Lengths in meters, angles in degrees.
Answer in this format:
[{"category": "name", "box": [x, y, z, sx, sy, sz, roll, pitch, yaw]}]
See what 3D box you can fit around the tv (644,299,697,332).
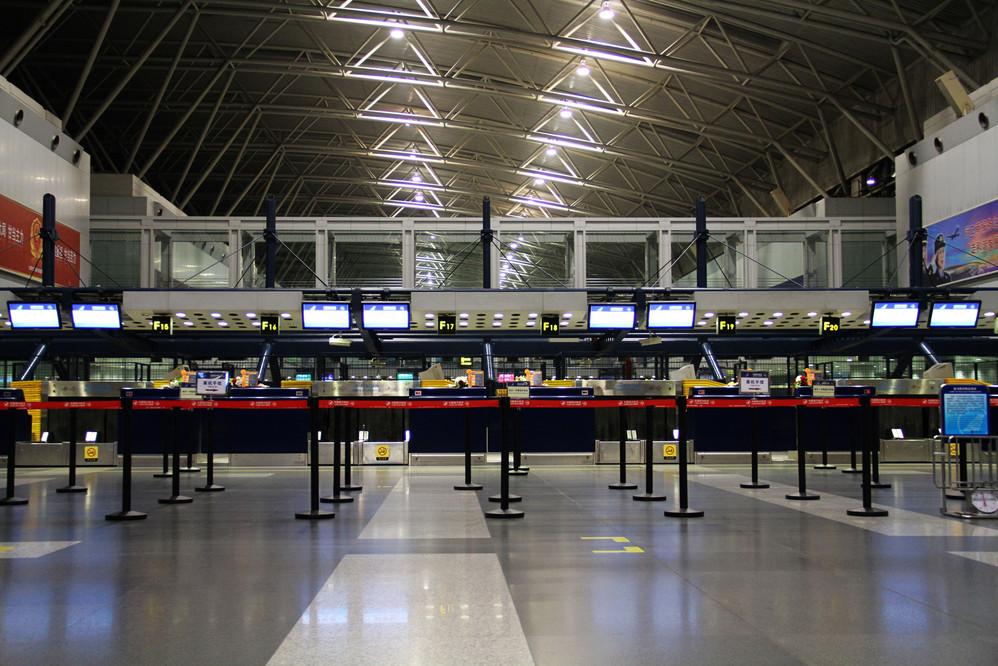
[{"category": "tv", "box": [4.975, -0.538, 27.219, 1.422, 0.898, 0.766, 0, 7, 10]}]
